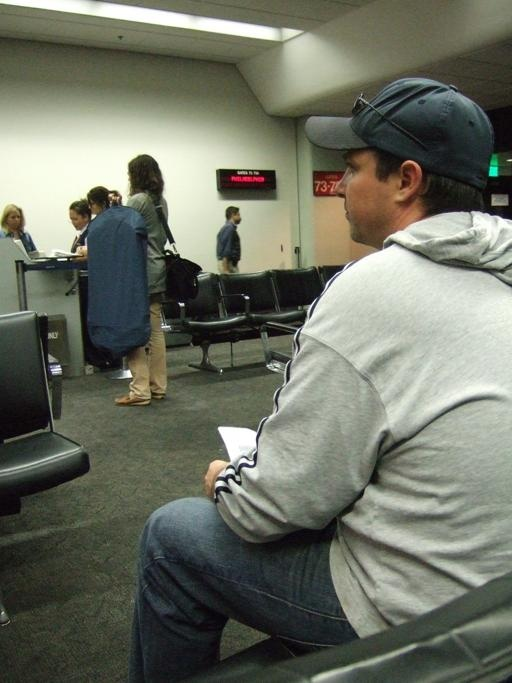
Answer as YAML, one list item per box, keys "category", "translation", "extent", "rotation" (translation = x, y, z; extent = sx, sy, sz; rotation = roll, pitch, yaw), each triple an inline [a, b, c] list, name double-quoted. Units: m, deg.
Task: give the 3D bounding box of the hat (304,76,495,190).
- category: "hat"
  translation: [0.206, -0.307, 0.916]
  extent: [0.263, 0.113, 0.168]
  rotation: [17, 23, 8]

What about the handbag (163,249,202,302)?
- category: "handbag"
  translation: [-0.618, -0.540, 4.712]
  extent: [0.402, 0.460, 0.392]
  rotation: [0, 9, -14]

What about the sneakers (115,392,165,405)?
- category: "sneakers"
  translation: [-0.918, 0.457, 4.532]
  extent: [0.399, 0.137, 0.125]
  rotation: [2, 0, -7]

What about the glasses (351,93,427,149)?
- category: "glasses"
  translation: [0.201, -0.322, 0.861]
  extent: [0.093, 0.023, 0.086]
  rotation: [26, 11, 0]
